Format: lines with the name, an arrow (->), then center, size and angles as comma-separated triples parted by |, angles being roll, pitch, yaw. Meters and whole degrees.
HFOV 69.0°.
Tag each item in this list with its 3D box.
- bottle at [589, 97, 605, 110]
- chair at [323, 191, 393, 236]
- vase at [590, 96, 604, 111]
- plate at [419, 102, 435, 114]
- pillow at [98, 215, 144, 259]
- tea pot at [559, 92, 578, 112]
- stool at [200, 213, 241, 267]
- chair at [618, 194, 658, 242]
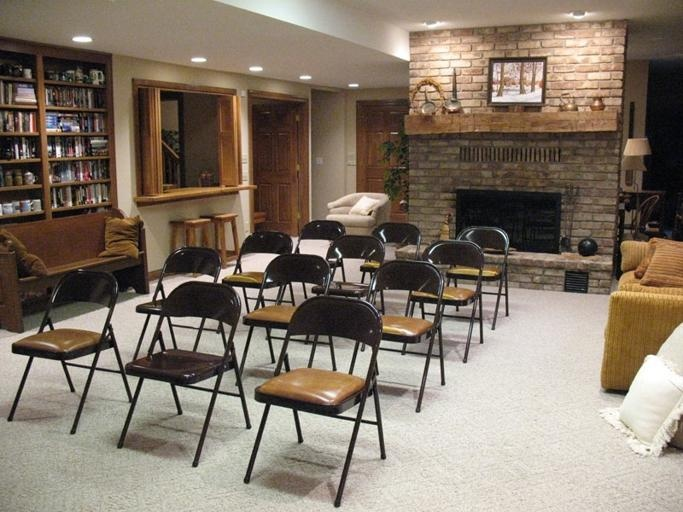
bottle -> 3.456, -2.046, 6.694 | 0.169, 0.196, 0.283 | 6, 12, 26
chair -> 0.338, -0.818, 10.010 | 1.103, 0.862, 1.066 | 8, 16, 36
vase -> 3.456, -2.046, 6.694 | 0.169, 0.196, 0.283 | 6, 12, 26
plate -> 1.308, -2.250, 7.465 | 0.250, 0.215, 0.275 | 2, 11, 10
pillow -> -2.781, -0.236, 6.227 | 0.527, 0.546, 0.239 | 4, -26, -16
tea pot -> 3.128, -2.128, 6.830 | 0.231, 0.280, 0.267 | 4, 12, 21
stool -> -2.014, -0.287, 8.452 | 0.603, 0.615, 0.600 | -17, 4, 25
chair -> 5.151, -0.721, 8.632 | 0.605, 0.598, 0.591 | 3, -16, 24
